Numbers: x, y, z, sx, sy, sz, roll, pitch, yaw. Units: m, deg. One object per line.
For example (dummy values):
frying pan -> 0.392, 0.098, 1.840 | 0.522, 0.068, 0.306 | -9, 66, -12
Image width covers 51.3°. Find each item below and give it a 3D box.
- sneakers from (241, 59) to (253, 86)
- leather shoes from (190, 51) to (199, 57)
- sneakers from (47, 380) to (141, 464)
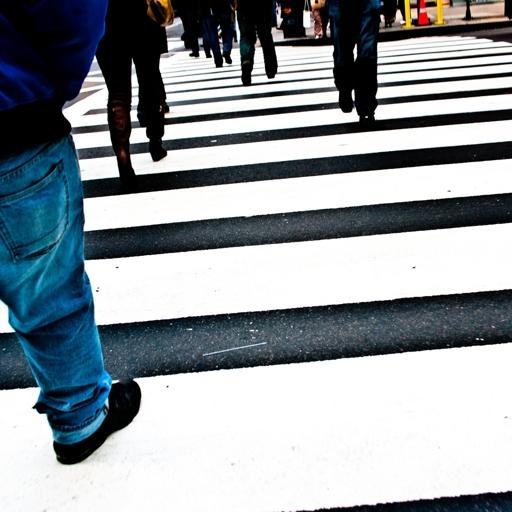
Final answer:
sneakers -> -0.153, -2.931, 8.569 | 0.102, 0.399, 0.165 | 2, 36, -1
leather shoes -> -1.706, -5.666, 14.911 | 0.163, 0.101, 0.260 | -1, 6, -6
sneakers -> -0.525, 0.532, 1.771 | 0.107, 0.158, 0.375 | 13, 35, 10
